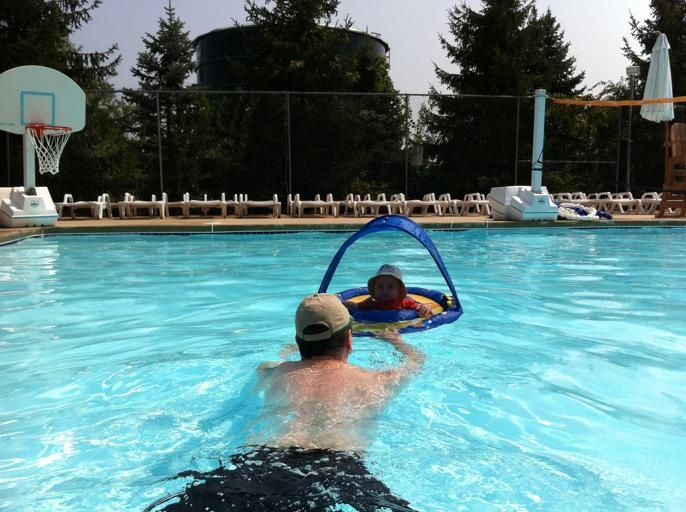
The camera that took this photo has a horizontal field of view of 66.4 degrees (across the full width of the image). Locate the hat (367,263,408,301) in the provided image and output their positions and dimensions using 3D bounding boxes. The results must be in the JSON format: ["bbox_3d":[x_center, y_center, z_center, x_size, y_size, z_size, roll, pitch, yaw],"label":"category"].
[{"bbox_3d":[0.362,0.169,4.107,0.251,0.282,0.153,5,39,14],"label":"hat"}]

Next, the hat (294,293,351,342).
[{"bbox_3d":[-0.106,0.298,2.580,0.209,0.141,0.266,-1,17,10],"label":"hat"}]
